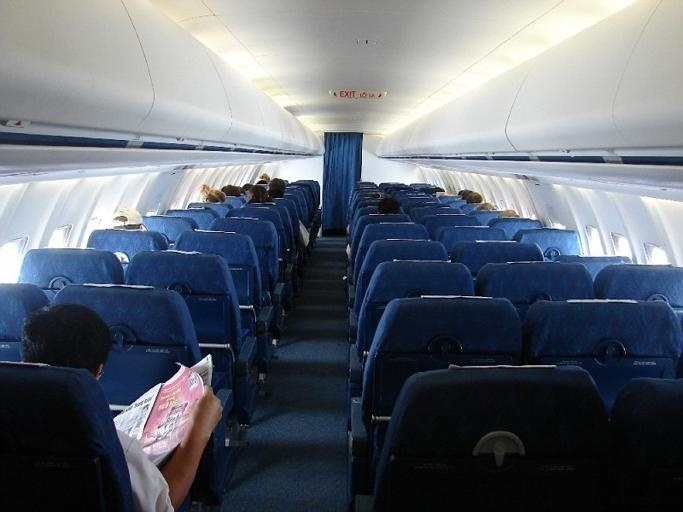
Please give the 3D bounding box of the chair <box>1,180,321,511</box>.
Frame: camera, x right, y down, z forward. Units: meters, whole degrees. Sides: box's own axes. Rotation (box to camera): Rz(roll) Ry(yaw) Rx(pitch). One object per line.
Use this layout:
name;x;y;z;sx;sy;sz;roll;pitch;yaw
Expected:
chair;-0.752;0.456;2.871;1.074;1.122;1.589;1;3;-3
